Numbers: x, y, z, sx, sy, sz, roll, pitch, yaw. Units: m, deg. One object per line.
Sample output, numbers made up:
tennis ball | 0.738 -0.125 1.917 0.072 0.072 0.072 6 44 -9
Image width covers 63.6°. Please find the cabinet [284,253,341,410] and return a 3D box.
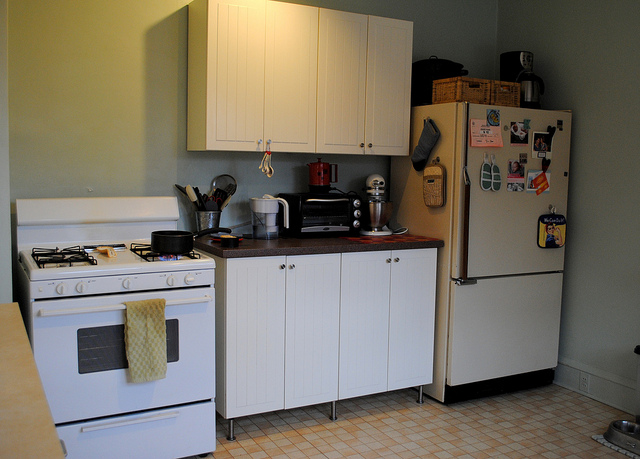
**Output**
cabinet | -0.098 0.650 3.581 0.388 1.014 0.382 -3 9 -24

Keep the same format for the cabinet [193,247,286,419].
cabinet | -0.552 0.631 3.454 0.537 0.990 0.484 -4 10 -27

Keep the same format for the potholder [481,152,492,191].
potholder | 1.174 -0.412 3.641 0.089 0.265 0.018 -6 9 -20

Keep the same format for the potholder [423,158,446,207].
potholder | 0.822 -0.322 3.723 0.051 0.280 0.185 -8 10 -34

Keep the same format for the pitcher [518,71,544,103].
pitcher | 1.601 -1.102 3.981 0.253 0.249 0.149 -2 14 3

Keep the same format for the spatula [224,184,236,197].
spatula | -0.643 -0.284 3.693 0.049 0.091 0.023 29 -13 21

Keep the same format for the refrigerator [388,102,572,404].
refrigerator | 1.297 0.177 3.889 1.207 2.227 0.514 -4 9 -8

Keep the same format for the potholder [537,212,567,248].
potholder | 1.733 -0.001 3.883 0.256 0.284 0.029 -1 4 -24

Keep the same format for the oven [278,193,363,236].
oven | 0.039 -0.106 3.706 0.468 0.279 0.327 -1 2 -28

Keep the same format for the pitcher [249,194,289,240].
pitcher | -0.347 -0.085 3.580 0.258 0.304 0.156 -4 9 -6

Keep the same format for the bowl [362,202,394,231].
bowl | 0.424 -0.093 3.914 0.260 0.219 0.256 1 -3 0

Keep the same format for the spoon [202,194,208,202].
spoon | -0.806 -0.228 3.627 0.029 0.042 0.012 3 -17 -5

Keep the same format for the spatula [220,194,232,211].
spatula | -0.667 -0.191 3.659 0.022 0.092 0.087 42 -27 -24

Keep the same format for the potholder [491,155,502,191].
potholder | 1.258 -0.407 3.677 0.106 0.255 0.024 -8 10 -32

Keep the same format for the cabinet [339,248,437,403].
cabinet | 0.429 0.673 3.920 0.783 1.178 0.726 -2 8 -19

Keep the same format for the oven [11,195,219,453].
oven | -1.179 0.601 3.134 1.044 1.554 0.890 -8 10 -30
